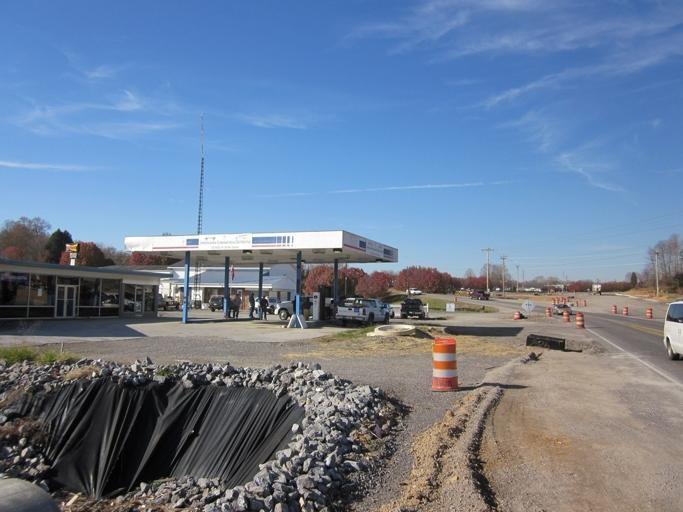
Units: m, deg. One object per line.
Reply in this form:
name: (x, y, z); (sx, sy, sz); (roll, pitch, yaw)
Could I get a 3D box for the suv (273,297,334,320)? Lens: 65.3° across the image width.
suv: (-2.675, 3.722, 38.040); (3.688, 1.308, 1.944); (1, -3, 5)

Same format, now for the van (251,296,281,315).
van: (-6.300, 4.477, 47.582); (1.763, 1.439, 3.131); (1, 1, 7)

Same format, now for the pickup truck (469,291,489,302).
pickup truck: (22.397, 6.386, 86.927); (1.571, 1.138, 2.441); (2, -4, -31)

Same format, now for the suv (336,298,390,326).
suv: (1.293, 3.268, 31.756); (1.697, 1.611, 3.162); (-3, -2, 43)

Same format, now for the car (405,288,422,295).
car: (14.031, 6.803, 103.937); (2.478, 1.114, 1.486); (-7, -7, 43)

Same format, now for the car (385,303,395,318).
car: (3.152, 3.470, 34.726); (0.923, 0.746, 1.928); (-1, -11, 4)

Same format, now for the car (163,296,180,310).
car: (-17.467, 4.876, 54.686); (0.964, 0.848, 1.857); (1, -1, 5)
